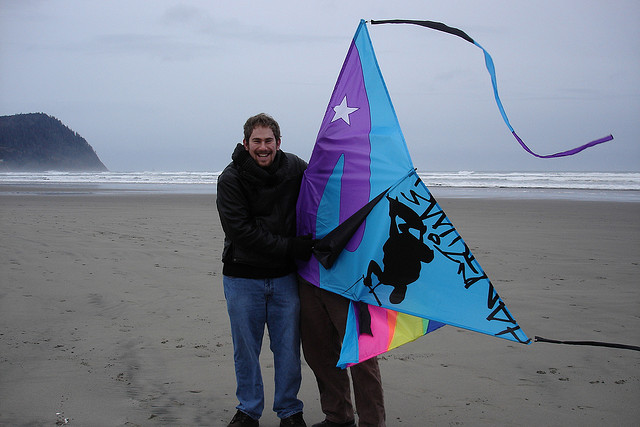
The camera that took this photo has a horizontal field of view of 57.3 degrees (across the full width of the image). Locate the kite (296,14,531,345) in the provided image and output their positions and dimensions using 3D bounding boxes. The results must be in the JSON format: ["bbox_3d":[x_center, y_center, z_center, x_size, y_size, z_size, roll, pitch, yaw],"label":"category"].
[{"bbox_3d":[0.411,-0.424,6.833,3.755,3.459,0.269,2,3,26],"label":"kite"}]

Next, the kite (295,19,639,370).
[{"bbox_3d":[2.065,0.609,8.233,4.020,4.408,0.719,-2,-4,21],"label":"kite"}]
